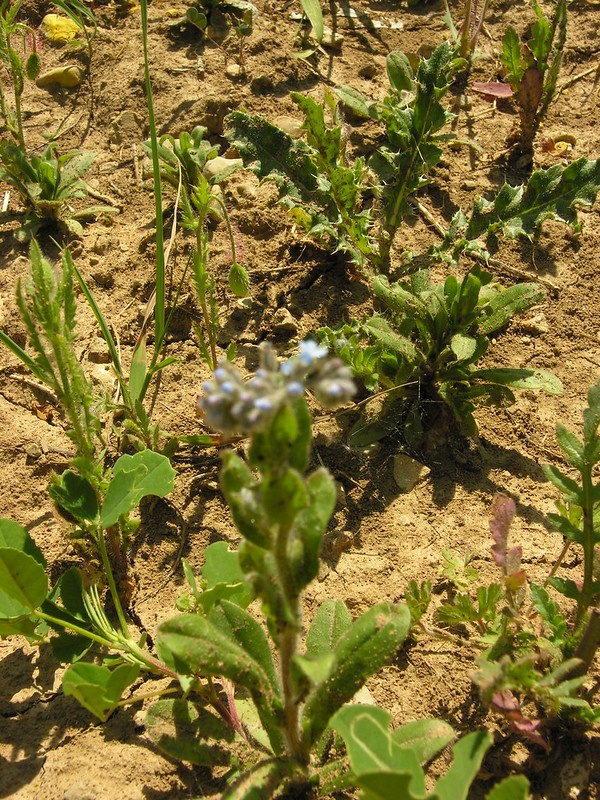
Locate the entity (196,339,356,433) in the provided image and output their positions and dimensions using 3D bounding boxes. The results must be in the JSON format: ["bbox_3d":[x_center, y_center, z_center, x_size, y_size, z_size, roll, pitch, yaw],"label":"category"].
[{"bbox_3d":[-0.050,0.008,1.763,0.198,0.119,0.304,34,41,30],"label":"entity"}]
